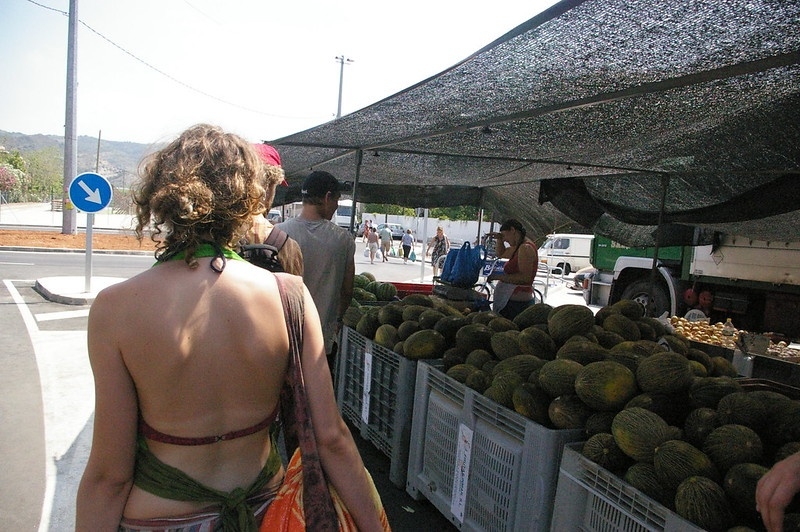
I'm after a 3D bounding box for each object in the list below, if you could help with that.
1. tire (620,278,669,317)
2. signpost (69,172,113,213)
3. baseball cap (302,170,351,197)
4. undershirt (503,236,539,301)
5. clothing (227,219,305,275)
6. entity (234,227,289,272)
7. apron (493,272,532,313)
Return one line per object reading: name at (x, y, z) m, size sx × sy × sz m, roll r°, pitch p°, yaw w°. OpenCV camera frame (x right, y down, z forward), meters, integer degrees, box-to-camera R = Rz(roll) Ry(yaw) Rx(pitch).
tire at (4.487, 0.564, 9.424) m, size 0.282 × 0.870 × 0.850 m, roll 0°, pitch -1°, yaw -29°
signpost at (-6.177, -1.454, 10.406) m, size 0.077 × 0.803 × 0.800 m, roll 16°, pitch 14°, yaw 34°
baseball cap at (-0.689, -0.768, 4.853) m, size 0.324 × 0.192 × 0.228 m, roll -7°, pitch 19°, yaw -25°
undershirt at (1.845, 0.063, 7.803) m, size 0.492 × 0.915 × 0.938 m, roll 7°, pitch 7°, yaw 20°
clothing at (-0.901, -0.113, 3.704) m, size 0.486 × 0.333 × 0.461 m, roll 4°, pitch -16°, yaw -30°
entity at (-0.962, -0.120, 3.665) m, size 0.325 × 0.267 × 0.223 m, roll 7°, pitch 9°, yaw -11°
apron at (1.618, 0.382, 7.406) m, size 0.502 × 0.695 × 0.391 m, roll 5°, pitch -3°, yaw -1°
